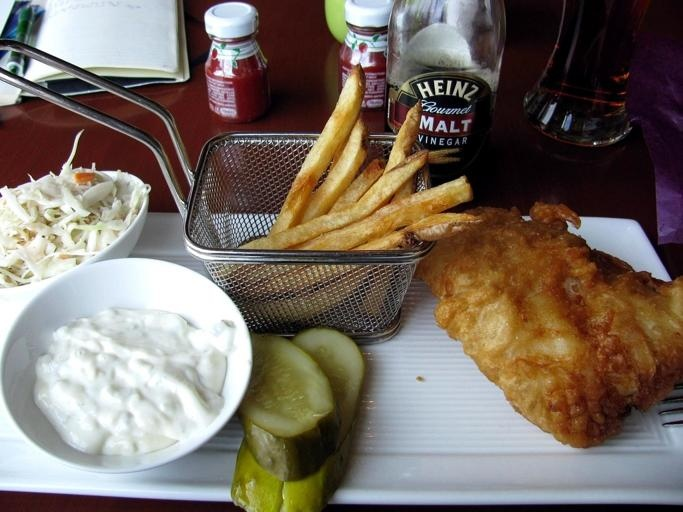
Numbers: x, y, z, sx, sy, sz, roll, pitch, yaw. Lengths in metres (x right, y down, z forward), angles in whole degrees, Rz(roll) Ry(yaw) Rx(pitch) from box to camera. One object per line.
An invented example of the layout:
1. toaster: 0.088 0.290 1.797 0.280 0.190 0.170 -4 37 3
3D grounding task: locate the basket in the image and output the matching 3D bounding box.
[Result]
1. basket: -0.080 -0.029 1.964 0.705 0.389 0.634 0 52 -1

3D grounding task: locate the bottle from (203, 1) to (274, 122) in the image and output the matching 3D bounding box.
1. bottle: -0.407 -0.763 2.450 0.189 0.501 0.254 -25 38 -39

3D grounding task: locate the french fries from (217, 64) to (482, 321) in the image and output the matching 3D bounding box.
1. french fries: 0.082 -0.190 1.835 0.760 0.699 0.586 7 28 15
